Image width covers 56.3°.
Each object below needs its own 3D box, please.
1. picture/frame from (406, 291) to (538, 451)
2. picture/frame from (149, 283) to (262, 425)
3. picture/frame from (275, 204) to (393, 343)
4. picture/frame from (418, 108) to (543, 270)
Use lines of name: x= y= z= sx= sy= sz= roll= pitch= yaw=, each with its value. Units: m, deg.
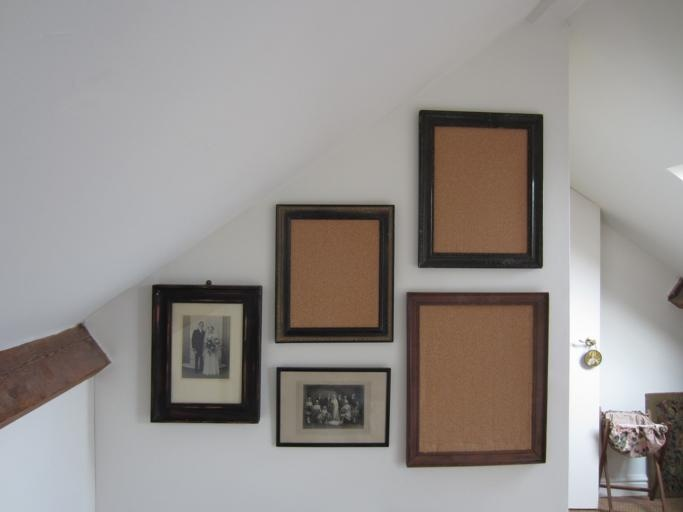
picture/frame: x=0.379 y=0.357 z=1.924 sx=0.393 sy=0.568 sz=0.027 roll=0 pitch=1 yaw=0
picture/frame: x=-0.406 y=0.288 z=1.909 sx=0.312 sy=0.451 sz=0.027 roll=1 pitch=19 yaw=-15
picture/frame: x=-0.032 y=0.051 z=1.914 sx=0.341 sy=0.454 sz=0.032 roll=0 pitch=1 yaw=1
picture/frame: x=0.404 y=-0.200 z=1.918 sx=0.400 sy=0.579 sz=0.037 roll=0 pitch=0 yaw=-7
